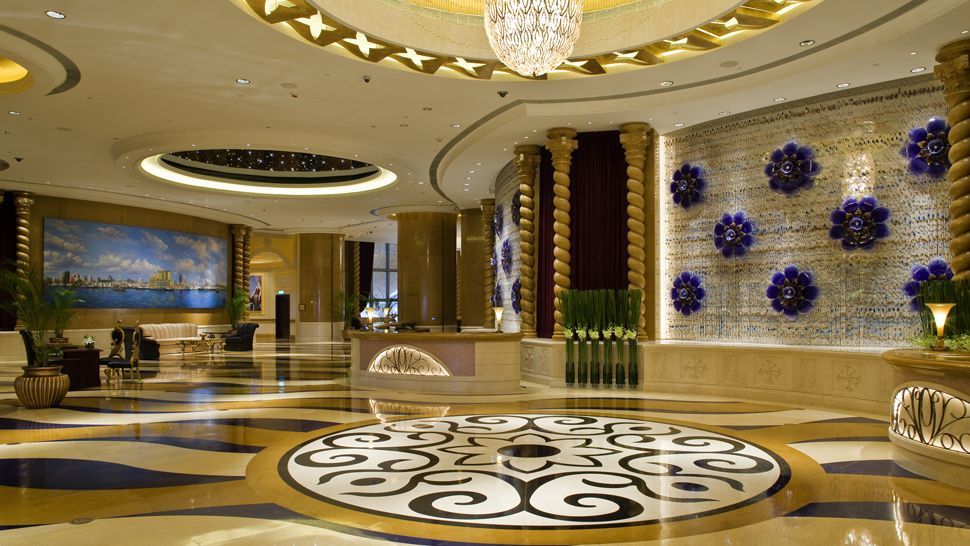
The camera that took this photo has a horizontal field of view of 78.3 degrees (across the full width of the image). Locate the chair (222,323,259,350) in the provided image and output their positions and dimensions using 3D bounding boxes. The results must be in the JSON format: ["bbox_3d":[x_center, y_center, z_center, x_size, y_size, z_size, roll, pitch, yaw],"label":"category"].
[{"bbox_3d":[-8.543,2.204,20.706,1.136,0.968,1.207,-4,-11,21],"label":"chair"}]

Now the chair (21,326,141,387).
[{"bbox_3d":[-9.016,1.965,13.711,1.967,1.130,2.559,-2,1,-42],"label":"chair"}]

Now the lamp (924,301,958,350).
[{"bbox_3d":[6.632,0.723,8.723,0.282,0.621,0.816,6,9,37],"label":"lamp"}]
